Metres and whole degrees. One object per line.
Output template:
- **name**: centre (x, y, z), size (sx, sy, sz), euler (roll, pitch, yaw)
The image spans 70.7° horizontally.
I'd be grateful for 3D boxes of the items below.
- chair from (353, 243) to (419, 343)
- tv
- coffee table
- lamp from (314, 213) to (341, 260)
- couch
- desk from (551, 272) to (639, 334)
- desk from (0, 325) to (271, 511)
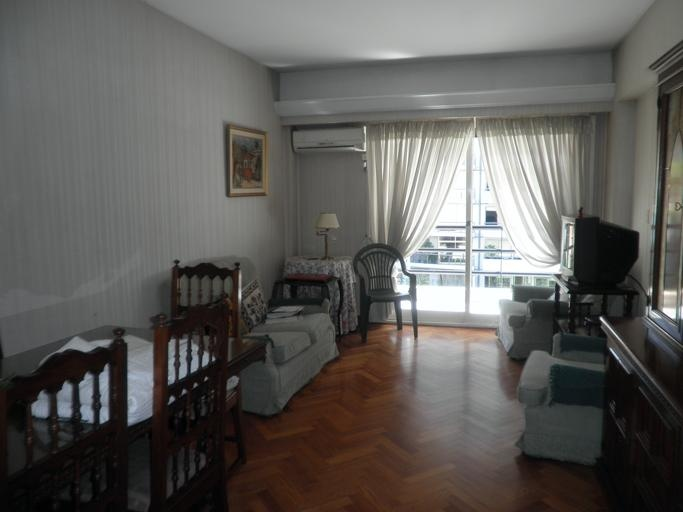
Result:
- **chair**: centre (0.489, 0.369, 5.419), size (0.701, 0.988, 0.951), euler (-1, 10, 0)
- **tv**: centre (2.294, -0.048, 4.319), size (0.587, 0.613, 0.664), euler (0, 4, 25)
- **coffee table**: centre (-0.279, 0.369, 5.367), size (0.758, 0.840, 0.826), euler (1, 4, 18)
- **lamp**: centre (-0.157, -0.242, 5.651), size (0.289, 0.553, 0.728), euler (-1, 10, -3)
- **couch**: centre (-0.668, 0.545, 4.197), size (0.896, 1.266, 1.639), euler (-6, 1, 13)
- **desk**: centre (2.274, 0.514, 4.344), size (0.409, 0.633, 0.716), euler (4, 1, 19)
- **desk**: centre (-0.932, 0.963, 2.618), size (0.976, 0.794, 0.677), euler (-2, 0, 24)
